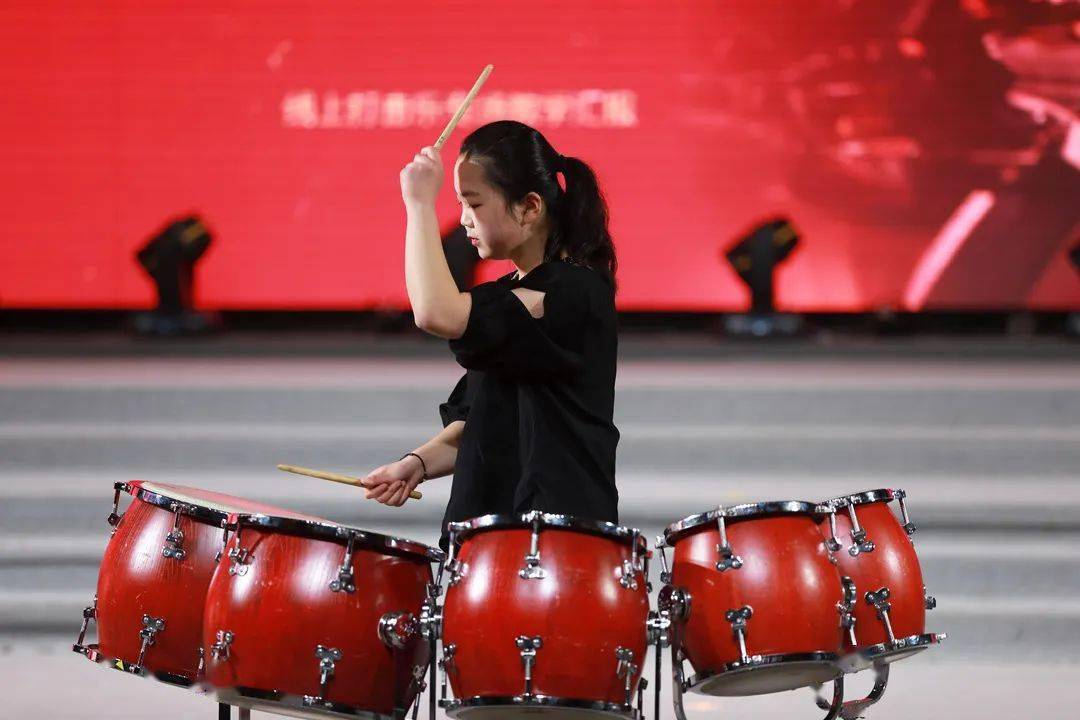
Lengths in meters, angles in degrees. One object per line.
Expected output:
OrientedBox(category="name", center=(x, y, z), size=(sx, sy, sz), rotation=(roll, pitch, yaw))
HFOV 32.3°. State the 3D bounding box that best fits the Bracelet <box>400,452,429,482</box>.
OrientedBox(category="Bracelet", center=(-0.442, 0.351, 6.470), size=(0.032, 0.107, 0.083), rotation=(-44, -27, 19))
